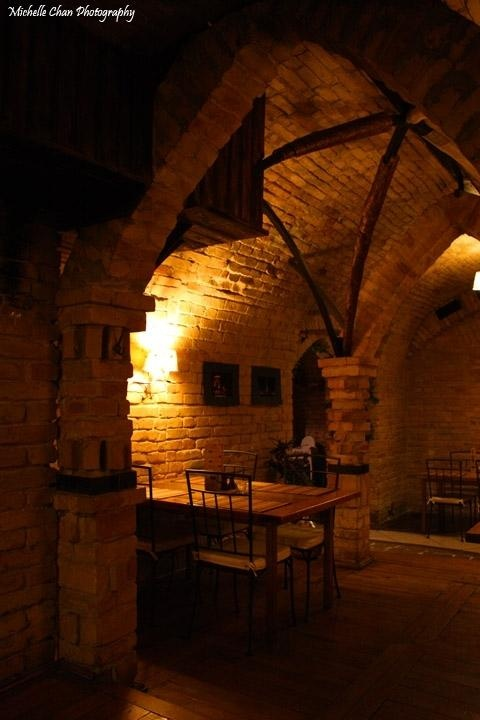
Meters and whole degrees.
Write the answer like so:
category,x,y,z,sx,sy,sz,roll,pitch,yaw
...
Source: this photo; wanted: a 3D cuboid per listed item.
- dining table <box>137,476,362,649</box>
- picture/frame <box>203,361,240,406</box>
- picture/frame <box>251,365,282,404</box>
category,x,y,z,sx,sy,sz,roll,pitch,yaw
dining table,0.105,1.435,4.383,1.209,0.884,1.302,-4,-8,31
picture/frame,-0.218,0.262,6.355,0.054,0.423,0.502,-3,-3,29
picture/frame,0.298,0.315,7.179,0.062,0.405,0.482,-5,-6,32
